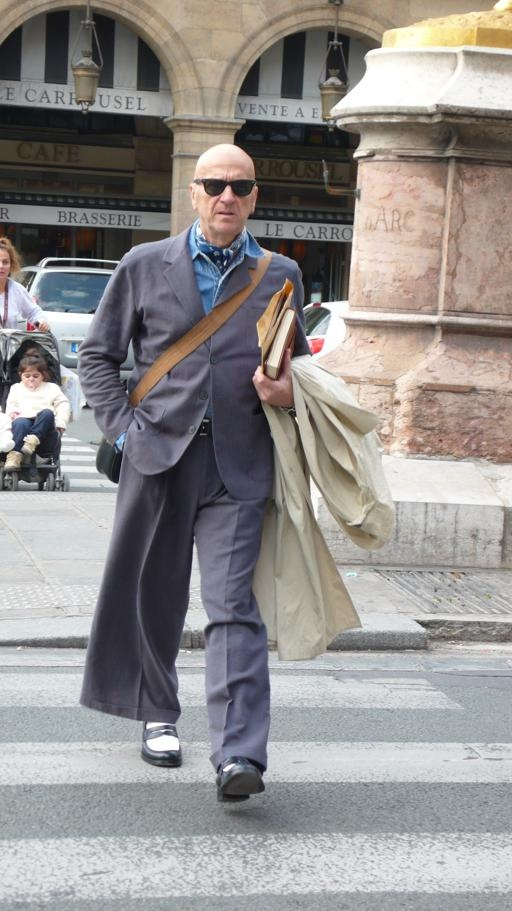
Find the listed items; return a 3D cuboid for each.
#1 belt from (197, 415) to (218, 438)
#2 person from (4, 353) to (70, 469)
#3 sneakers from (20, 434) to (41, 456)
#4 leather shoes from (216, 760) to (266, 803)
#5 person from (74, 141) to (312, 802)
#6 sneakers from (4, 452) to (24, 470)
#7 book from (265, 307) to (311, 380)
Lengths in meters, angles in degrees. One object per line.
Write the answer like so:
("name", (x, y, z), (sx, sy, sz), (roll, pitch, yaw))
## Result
("belt", (-0.145, -0.088, 3.189), (0.059, 0.093, 0.073), (1, 5, -6))
("person", (-1.827, -0.378, 9.058), (0.500, 1.012, 0.430), (3, 3, -14))
("sneakers", (-1.842, -0.085, 8.900), (0.086, 0.220, 0.097), (9, 30, -46))
("leather shoes", (-0.041, 0.868, 2.881), (0.082, 0.069, 0.164), (3, -26, -9))
("person", (-0.125, 0.037, 3.202), (0.470, 1.943, 0.864), (1, 4, -43))
("sneakers", (-1.979, 0.046, 8.890), (0.079, 0.165, 0.166), (7, 4, 40))
("book", (0.070, -0.315, 3.048), (0.065, 0.182, 0.144), (27, 45, 0))
